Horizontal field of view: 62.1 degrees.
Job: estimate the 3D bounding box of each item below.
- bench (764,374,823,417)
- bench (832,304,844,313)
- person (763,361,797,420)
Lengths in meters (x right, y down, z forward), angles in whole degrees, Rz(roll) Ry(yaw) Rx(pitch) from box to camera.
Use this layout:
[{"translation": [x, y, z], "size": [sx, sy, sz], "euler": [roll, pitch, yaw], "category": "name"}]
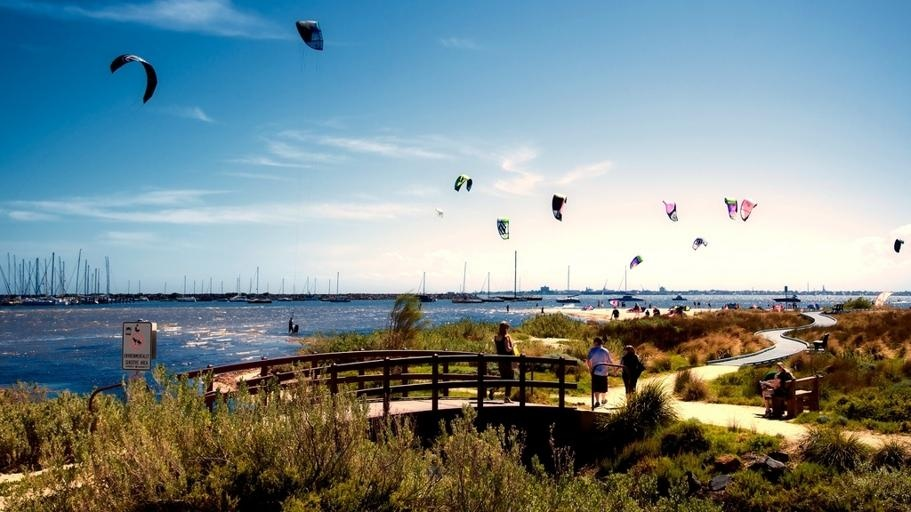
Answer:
[{"translation": [15.447, 6.380, 34.482], "size": [2.950, 1.553, 1.163], "euler": [4, -6, -44], "category": "bench"}, {"translation": [42.329, 5.865, 83.673], "size": [1.061, 0.277, 1.147], "euler": [-6, 16, -7], "category": "bench"}, {"translation": [14.674, 6.247, 34.275], "size": [0.955, 1.376, 2.270], "euler": [-1, -3, 38], "category": "person"}]
